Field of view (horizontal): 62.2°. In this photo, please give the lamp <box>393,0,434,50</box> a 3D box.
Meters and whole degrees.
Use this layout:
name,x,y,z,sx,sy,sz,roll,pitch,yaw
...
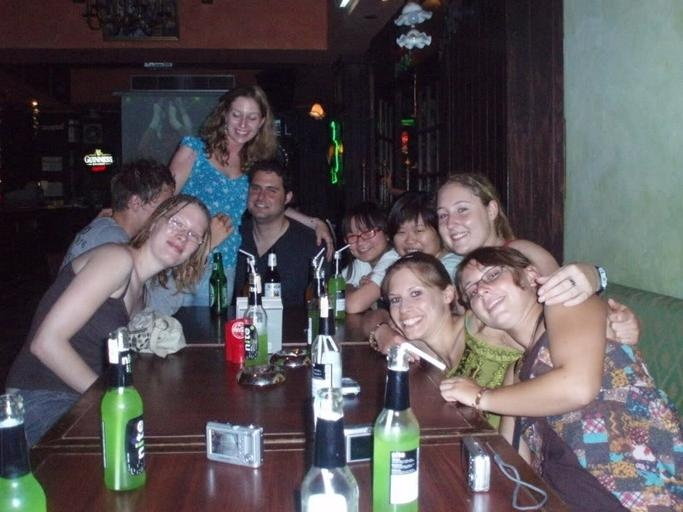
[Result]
name,x,y,z,sx,sy,sz,roll,pitch,yaw
lamp,0.640,-2.144,5.132,0.335,0.544,0.194,-3,-31,1

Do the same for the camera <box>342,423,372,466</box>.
name,x,y,z,sx,sy,sz,roll,pitch,yaw
camera,0.030,0.483,1.447,0.112,0.080,0.062,7,-12,-37

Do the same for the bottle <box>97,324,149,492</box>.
name,x,y,z,sx,sy,sz,roll,pitch,yaw
bottle,-0.521,0.360,1.358,0.105,0.390,0.169,1,1,-21

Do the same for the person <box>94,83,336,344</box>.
name,x,y,z,sx,sy,sz,roll,pitch,yaw
person,-0.732,-0.087,3.612,1.135,1.898,0.606,6,15,-21
